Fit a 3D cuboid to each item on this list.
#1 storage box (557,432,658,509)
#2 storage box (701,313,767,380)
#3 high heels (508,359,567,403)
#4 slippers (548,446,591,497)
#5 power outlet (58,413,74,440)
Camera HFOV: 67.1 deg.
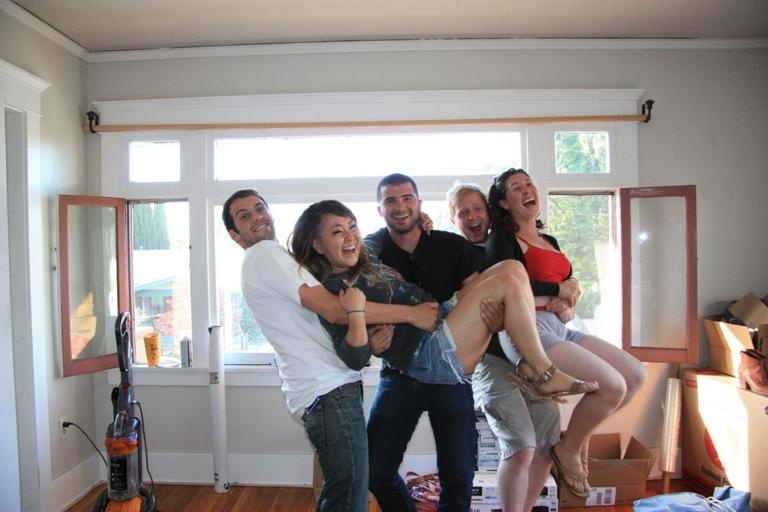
[{"bbox_3d":[1.975,1.956,5.331,0.908,0.390,0.663,-2,5,-7],"label":"storage box"},{"bbox_3d":[3.315,0.865,5.489,0.448,0.439,0.470,5,5,43],"label":"storage box"},{"bbox_3d":[1.083,0.948,4.404,0.602,0.217,0.198,7,-4,17],"label":"high heels"},{"bbox_3d":[1.440,1.661,4.500,0.263,0.389,0.169,-3,3,14],"label":"slippers"},{"bbox_3d":[-2.995,1.600,5.457,0.027,0.175,0.140,-2,2,27],"label":"power outlet"}]
